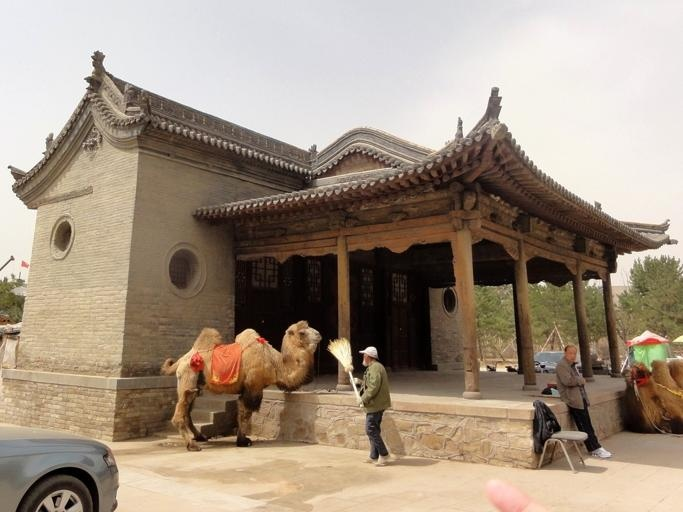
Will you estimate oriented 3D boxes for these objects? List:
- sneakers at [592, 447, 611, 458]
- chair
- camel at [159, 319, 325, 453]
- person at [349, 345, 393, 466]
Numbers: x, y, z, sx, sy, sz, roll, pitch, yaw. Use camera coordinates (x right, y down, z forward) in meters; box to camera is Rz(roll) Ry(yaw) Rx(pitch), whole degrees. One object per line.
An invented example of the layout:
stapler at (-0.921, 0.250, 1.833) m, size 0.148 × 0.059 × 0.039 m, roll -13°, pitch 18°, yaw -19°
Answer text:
sneakers at (4.086, 3.098, 6.947) m, size 0.118 × 0.118 × 0.252 m, roll 4°, pitch -10°, yaw -29°
chair at (3.121, 2.549, 6.485) m, size 0.729 × 1.027 × 0.842 m, roll 4°, pitch -3°, yaw 32°
camel at (-2.362, 2.323, 9.168) m, size 3.864 × 2.671 × 1.429 m, roll -4°, pitch -3°, yaw -5°
person at (0.600, 2.289, 6.820) m, size 0.532 × 1.607 × 0.619 m, roll 11°, pitch -2°, yaw -33°
